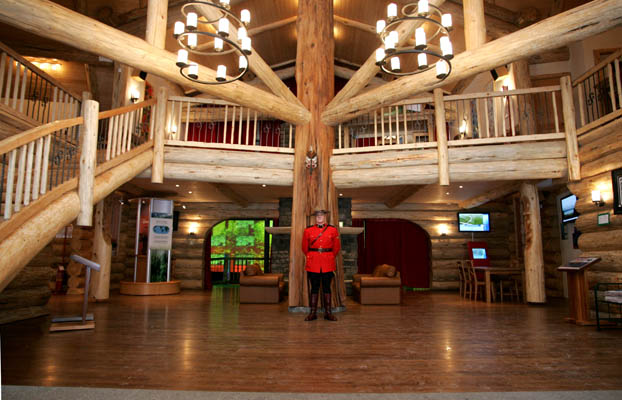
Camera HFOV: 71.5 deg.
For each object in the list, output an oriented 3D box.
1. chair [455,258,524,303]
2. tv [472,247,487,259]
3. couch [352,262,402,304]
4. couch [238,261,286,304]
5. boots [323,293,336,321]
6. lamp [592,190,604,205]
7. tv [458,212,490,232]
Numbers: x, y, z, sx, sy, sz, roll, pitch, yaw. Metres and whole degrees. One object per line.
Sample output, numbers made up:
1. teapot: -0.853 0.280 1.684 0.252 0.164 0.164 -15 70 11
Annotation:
1. chair: 5.184 2.346 12.492 1.600 0.876 2.203 1 -4 4
2. tv: 5.668 1.830 14.671 0.513 0.301 0.207 1 -26 0
3. couch: 1.754 2.237 11.500 1.063 0.976 0.916 0 -8 -4
4. couch: -1.277 2.251 11.715 1.261 0.810 1.462 0 -6 1
5. boots: 0.388 2.202 8.931 0.245 0.532 0.368 0 -8 -9
6. lamp: 5.981 -0.045 9.086 0.178 0.297 0.226 0 -8 -7
7. tv: 5.830 0.817 15.451 1.078 0.495 0.089 0 -3 4
